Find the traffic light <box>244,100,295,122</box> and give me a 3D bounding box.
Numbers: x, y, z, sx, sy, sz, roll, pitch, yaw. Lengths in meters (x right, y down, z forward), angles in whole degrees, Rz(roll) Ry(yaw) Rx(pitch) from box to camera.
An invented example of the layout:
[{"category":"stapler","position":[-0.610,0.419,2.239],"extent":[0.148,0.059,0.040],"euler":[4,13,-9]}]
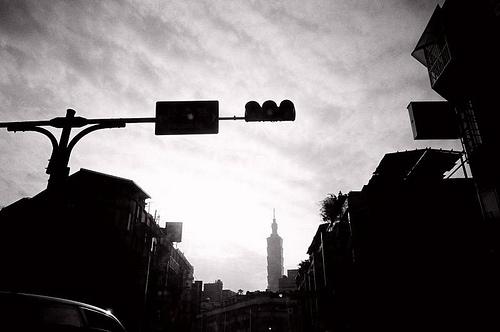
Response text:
[{"category":"traffic light","position":[0.933,-2.648,21.662],"extent":[2.362,0.442,1.059],"euler":[1,-63,12]}]
